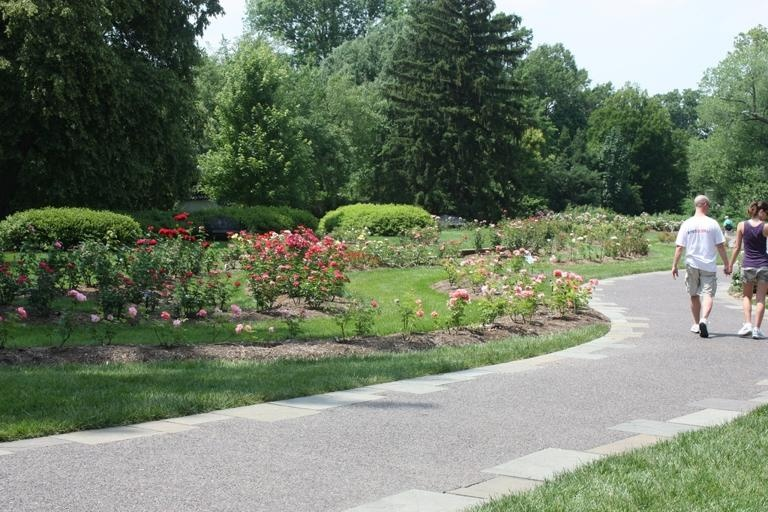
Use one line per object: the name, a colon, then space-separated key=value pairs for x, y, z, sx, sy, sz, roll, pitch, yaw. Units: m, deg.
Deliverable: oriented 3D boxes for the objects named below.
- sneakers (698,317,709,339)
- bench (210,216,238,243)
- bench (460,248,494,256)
sneakers: x=7.291 y=1.646 z=22.786 sx=0.182 sy=0.461 sz=0.208 roll=-4 pitch=33 yaw=26
bench: x=-6.715 y=-1.157 z=42.004 sx=1.368 sy=0.975 sz=0.685 roll=2 pitch=4 yaw=3
bench: x=3.358 y=-0.123 z=38.201 sx=0.751 sy=0.290 sz=2.260 roll=1 pitch=1 yaw=24
